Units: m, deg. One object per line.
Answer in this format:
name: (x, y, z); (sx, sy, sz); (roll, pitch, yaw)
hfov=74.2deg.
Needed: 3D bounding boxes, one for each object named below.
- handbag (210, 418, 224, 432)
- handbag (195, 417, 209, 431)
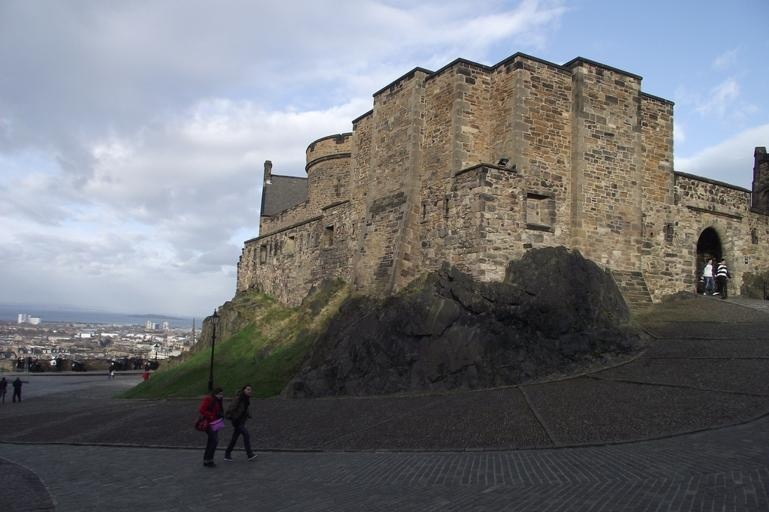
handbag: (-4.149, 4.139, 12.492); (0.303, 0.332, 0.343); (-8, 1, -15)
handbag: (-4.477, 4.142, 12.432); (0.317, 0.373, 0.378); (-8, 1, -24)
